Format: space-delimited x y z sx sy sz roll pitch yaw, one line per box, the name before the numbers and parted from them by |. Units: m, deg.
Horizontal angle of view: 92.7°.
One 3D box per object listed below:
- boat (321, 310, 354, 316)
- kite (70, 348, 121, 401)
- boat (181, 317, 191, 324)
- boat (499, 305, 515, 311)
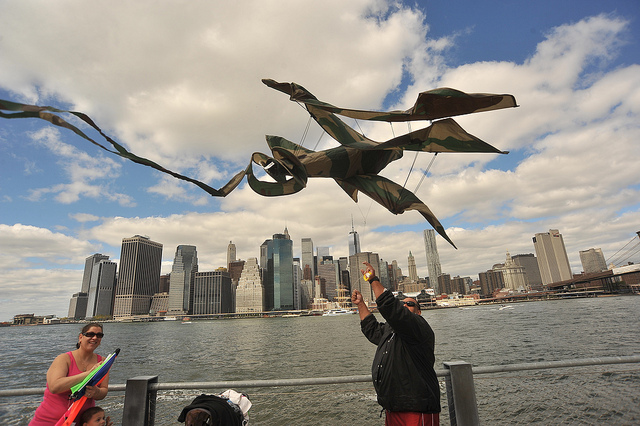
boat | 14.416 74.582 227.304 8.360 3.903 25.466 11 -21 -42
kite | -3.924 2.807 5.218 0.626 0.721 0.461 5 -20 -29
boat | -104.396 82.753 234.987 5.074 2.341 79.723 2 -17 -23
boat | 94.391 47.619 152.234 4.005 0.973 39.151 -14 -18 32
